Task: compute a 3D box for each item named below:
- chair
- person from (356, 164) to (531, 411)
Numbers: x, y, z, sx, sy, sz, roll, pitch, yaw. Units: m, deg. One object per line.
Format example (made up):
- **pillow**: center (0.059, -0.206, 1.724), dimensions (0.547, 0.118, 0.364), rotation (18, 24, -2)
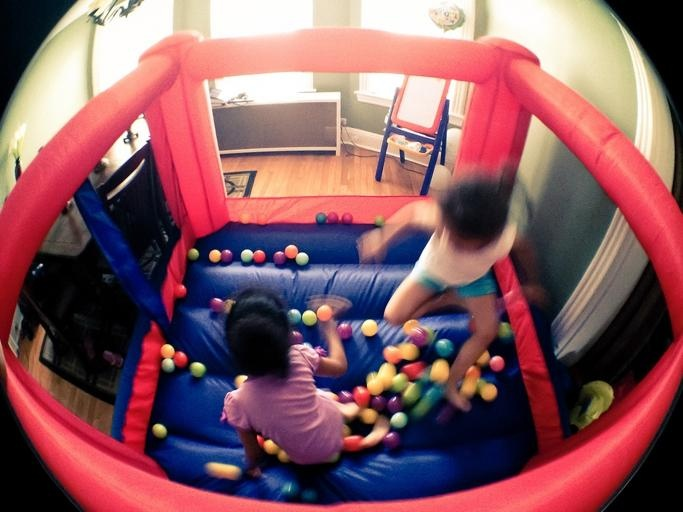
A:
- **chair**: center (-1.093, -0.189, 2.507), dimensions (0.371, 0.724, 0.414), rotation (13, 55, 10)
- **person**: center (0.491, 0.107, 2.390), dimensions (0.874, 1.300, 0.561), rotation (11, 45, 9)
